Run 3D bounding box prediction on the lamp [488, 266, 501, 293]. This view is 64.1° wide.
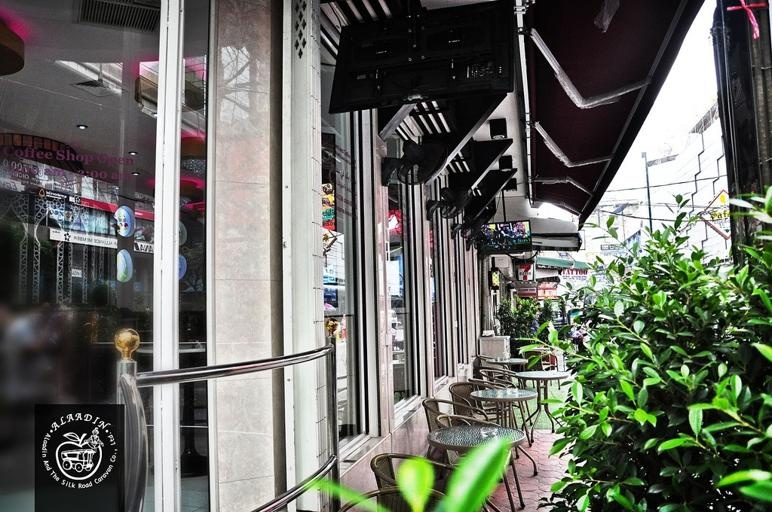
[{"bbox_3d":[2.918,0.629,16.667,0.460,0.960,0.811,-1,-5,10],"label":"lamp"}]

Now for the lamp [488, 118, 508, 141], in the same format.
[{"bbox_3d":[1.379,-1.584,7.677,0.180,0.250,0.238,-2,1,-42],"label":"lamp"}]

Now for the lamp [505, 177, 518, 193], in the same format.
[{"bbox_3d":[2.103,-1.211,10.403,0.227,0.223,0.055,-4,22,-26],"label":"lamp"}]

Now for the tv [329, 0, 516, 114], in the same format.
[{"bbox_3d":[0.237,-1.465,4.392,0.888,0.539,0.157,-3,-15,17],"label":"tv"}]
